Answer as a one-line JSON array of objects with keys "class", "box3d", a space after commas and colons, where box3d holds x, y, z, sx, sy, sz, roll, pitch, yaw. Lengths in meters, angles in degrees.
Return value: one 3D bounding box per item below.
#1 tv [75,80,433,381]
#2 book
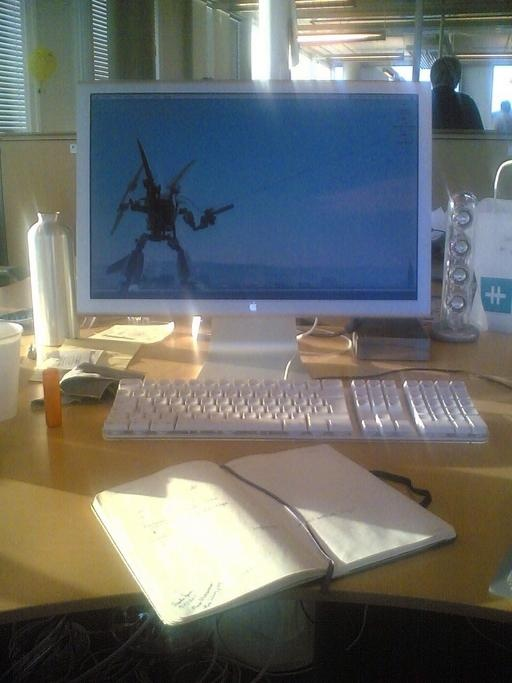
[{"class": "tv", "box3d": [-0.001, -0.190, 0.872, 0.475, 0.417, 0.133, 1, 12, 1]}, {"class": "book", "box3d": [0.001, 0.155, 0.512, 0.286, 0.021, 0.222, -6, 16, -23]}]
